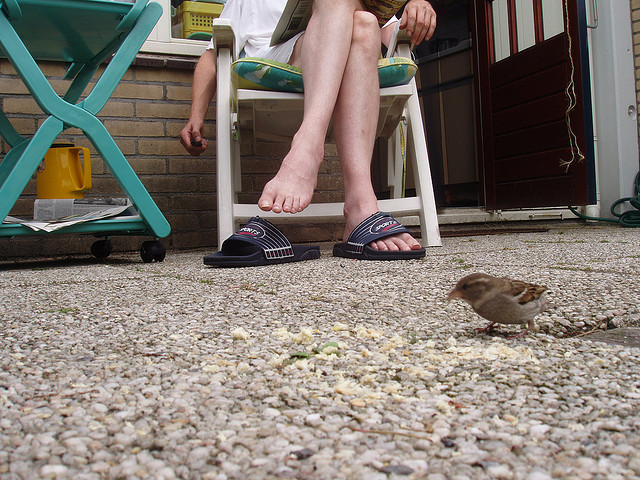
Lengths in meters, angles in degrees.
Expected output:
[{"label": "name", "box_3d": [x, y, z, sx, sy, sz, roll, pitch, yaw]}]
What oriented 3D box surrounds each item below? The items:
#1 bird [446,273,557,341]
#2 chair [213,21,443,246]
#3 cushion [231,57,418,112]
[{"label": "bird", "box_3d": [0.284, 0.092, 0.737, 0.182, 0.088, 0.086, -2, 1, -19]}, {"label": "chair", "box_3d": [0.023, -0.383, 2.275, 0.744, 1.430, 0.959, 0, -8, -10]}, {"label": "cushion", "box_3d": [0.016, -0.646, 1.903, 0.740, 0.154, 0.227, -1, 7, -6]}]
